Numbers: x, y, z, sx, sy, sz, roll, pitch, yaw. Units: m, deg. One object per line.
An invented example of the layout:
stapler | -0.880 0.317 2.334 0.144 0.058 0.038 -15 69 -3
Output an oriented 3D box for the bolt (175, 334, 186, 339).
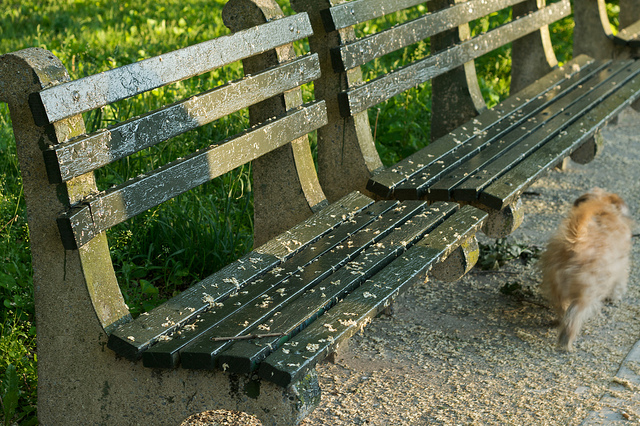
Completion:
bolt | -0.674 0.594 3.551 0.049 0.004 0.029 2 40 14

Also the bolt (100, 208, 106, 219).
bolt | -1.062 -0.002 3.592 0.015 0.027 0.042 7 57 1

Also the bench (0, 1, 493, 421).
bench | -0.353 0.045 4.235 1.419 1.665 2.153 10 24 29

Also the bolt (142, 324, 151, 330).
bolt | -0.848 0.555 3.594 0.040 0.006 0.032 25 50 35

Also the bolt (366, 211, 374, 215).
bolt | 0.297 -0.005 4.383 0.039 0.010 0.044 -7 39 3

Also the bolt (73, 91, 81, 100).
bolt | -1.164 -0.566 3.516 0.007 0.032 0.031 -4 1 45

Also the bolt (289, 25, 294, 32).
bolt | -0.168 -1.102 4.357 0.019 0.026 0.033 0 1 36
